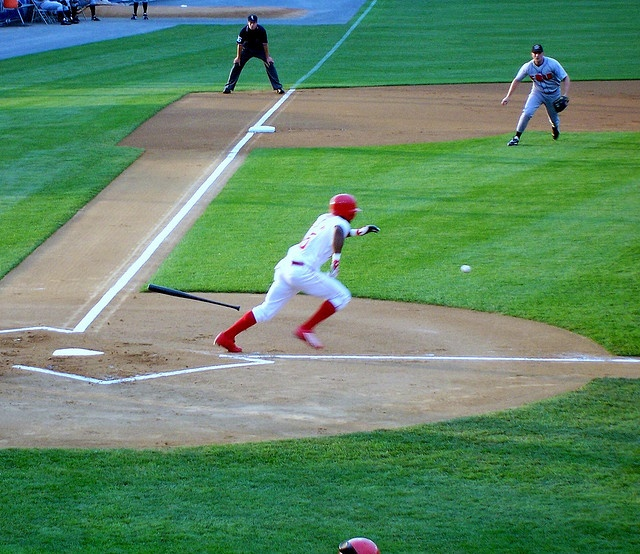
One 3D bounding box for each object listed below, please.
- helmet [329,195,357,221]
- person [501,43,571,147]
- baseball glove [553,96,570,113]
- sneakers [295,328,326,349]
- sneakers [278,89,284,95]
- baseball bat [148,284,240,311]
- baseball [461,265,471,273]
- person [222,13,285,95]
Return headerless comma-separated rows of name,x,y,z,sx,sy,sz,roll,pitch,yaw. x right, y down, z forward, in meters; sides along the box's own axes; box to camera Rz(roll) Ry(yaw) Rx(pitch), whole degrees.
helmet,0.306,-0.941,16.122,0.480,0.277,0.280,17,21,-5
person,4.196,-3.503,23.743,1.181,2.016,1.043,2,19,6
baseball glove,4.668,-3.313,23.608,0.148,0.373,0.258,36,26,-45
sneakers,-0.159,0.807,16.205,0.491,0.150,0.189,24,55,34
sneakers,-0.938,-4.485,29.515,0.070,0.123,0.205,36,48,29
baseball bat,-1.828,0.311,17.449,1.300,0.100,0.140,11,-22,1
baseball,2.184,-0.116,18.380,0.136,0.066,0.129,-6,8,-39
person,-1.596,-5.235,28.926,1.399,1.901,0.982,-4,19,-11
